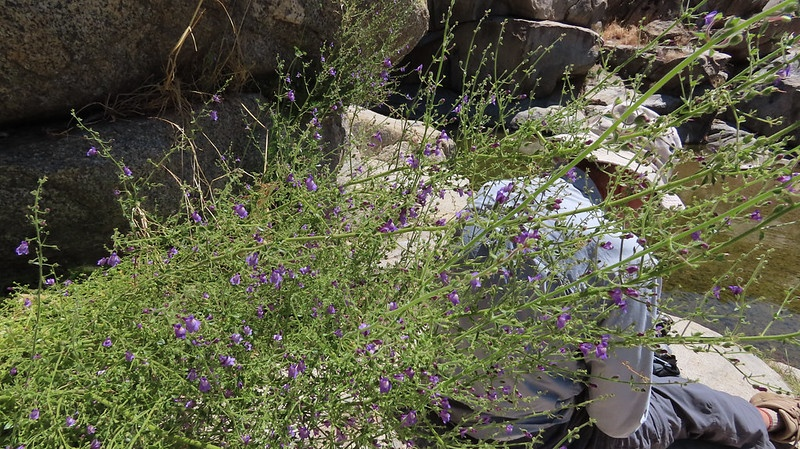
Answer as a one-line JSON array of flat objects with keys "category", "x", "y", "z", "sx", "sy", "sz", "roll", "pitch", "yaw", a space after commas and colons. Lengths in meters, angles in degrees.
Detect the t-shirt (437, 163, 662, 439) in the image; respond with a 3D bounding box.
[{"category": "t-shirt", "x": 0.716, "y": 0.365, "z": 2.915, "sx": 0.849, "sy": 1.105, "sz": 1.028, "roll": -12, "pitch": 64, "yaw": -14}]
